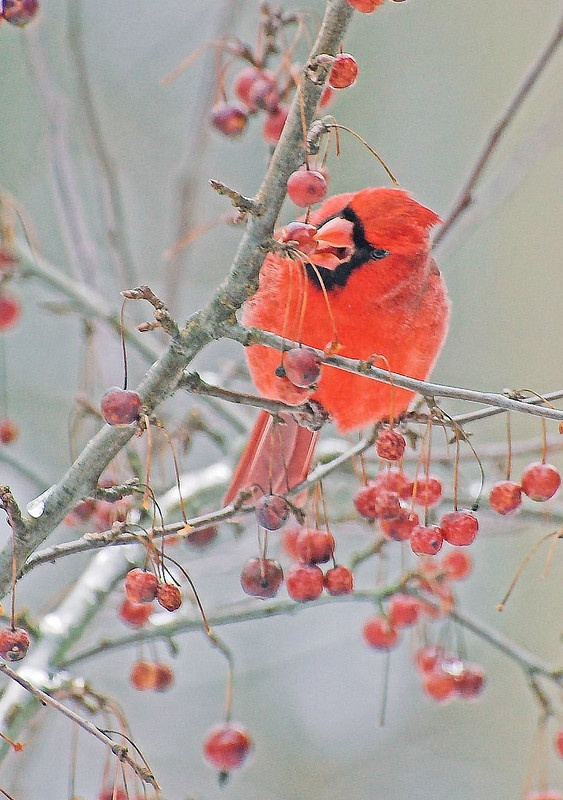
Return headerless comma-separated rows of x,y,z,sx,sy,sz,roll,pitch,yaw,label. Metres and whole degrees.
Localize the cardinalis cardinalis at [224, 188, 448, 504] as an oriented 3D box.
0.067,-0.048,1.320,0.227,0.309,0.384,3,-81,-14,cardinalis cardinalis
